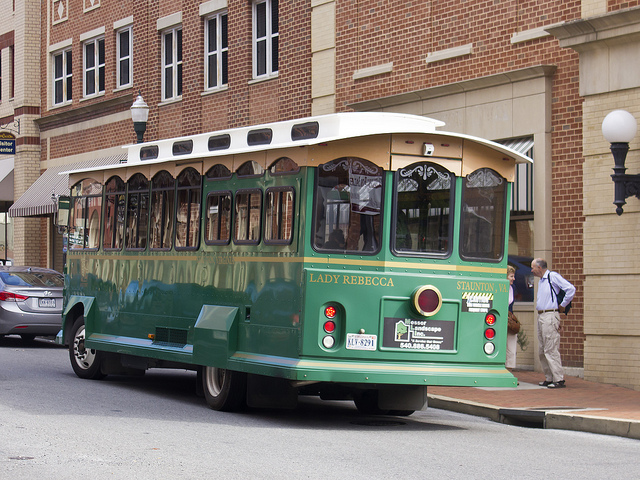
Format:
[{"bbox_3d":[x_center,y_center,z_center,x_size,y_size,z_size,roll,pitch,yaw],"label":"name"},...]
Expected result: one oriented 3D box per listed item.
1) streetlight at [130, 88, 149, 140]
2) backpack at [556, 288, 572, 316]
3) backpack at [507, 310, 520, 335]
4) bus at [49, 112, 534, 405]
[{"bbox_3d":[-4.457,-3.049,20.538,0.489,1.316,0.486,-3,-5,9],"label":"streetlight"},{"bbox_3d":[4.129,1.021,14.176,0.194,0.300,0.378,7,34,4],"label":"backpack"},{"bbox_3d":[3.356,1.432,14.473,0.189,0.396,0.599,0,-3,14],"label":"backpack"},{"bbox_3d":[-0.850,0.190,13.201,4.319,3.779,7.098,4,-3,-37],"label":"bus"}]
